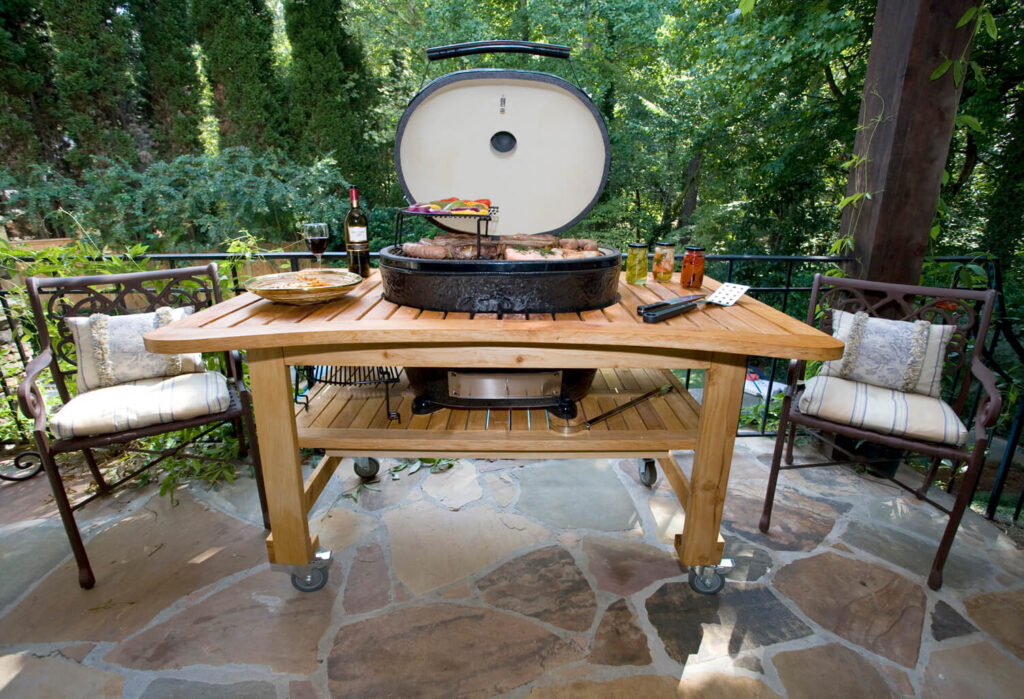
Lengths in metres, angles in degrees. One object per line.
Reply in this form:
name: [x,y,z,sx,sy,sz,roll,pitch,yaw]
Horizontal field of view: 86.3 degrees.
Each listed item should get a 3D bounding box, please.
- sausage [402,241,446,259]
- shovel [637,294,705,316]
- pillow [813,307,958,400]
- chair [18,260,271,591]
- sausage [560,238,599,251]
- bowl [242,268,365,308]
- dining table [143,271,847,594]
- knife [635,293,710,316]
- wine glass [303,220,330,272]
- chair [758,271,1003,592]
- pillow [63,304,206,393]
sausage: [-0.422,-0.473,2.644,0.134,0.055,0.166,1,12,-8]
shovel: [0.759,-0.213,2.521,0.521,0.037,0.102,-8,11,-35]
pillow: [1.962,-0.006,2.982,0.629,0.375,0.204,11,-1,10]
chair: [-1.896,0.279,2.909,1.097,1.117,0.929,-6,26,-11]
sausage: [0.321,-0.518,2.765,0.142,0.038,0.096,2,6,7]
bowl: [-0.905,-0.308,2.693,0.602,0.194,0.631,3,6,0]
dining table: [-0.077,0.373,2.928,2.769,1.121,1.386,0,15,2]
knife: [0.735,-0.220,2.505,0.468,0.036,0.108,-10,12,-33]
wine glass: [-1.048,-0.549,2.977,0.109,0.255,0.425,-8,19,-19]
chair: [1.886,0.310,2.946,1.055,1.139,0.895,8,23,14]
pillow: [-1.900,0.006,2.783,0.966,0.442,0.481,1,-2,36]
